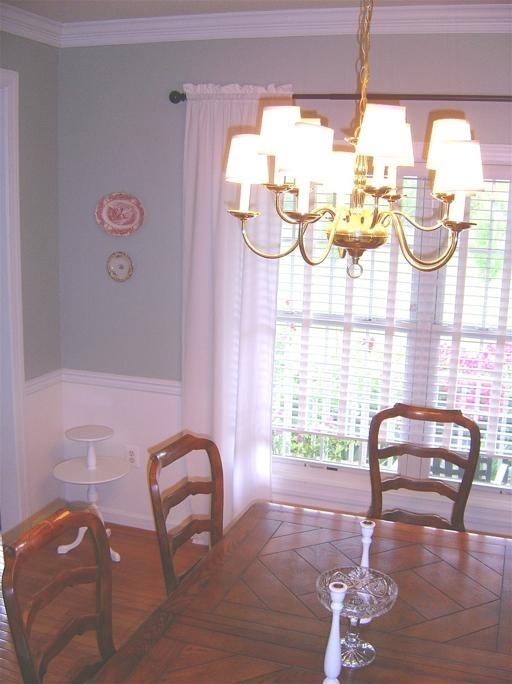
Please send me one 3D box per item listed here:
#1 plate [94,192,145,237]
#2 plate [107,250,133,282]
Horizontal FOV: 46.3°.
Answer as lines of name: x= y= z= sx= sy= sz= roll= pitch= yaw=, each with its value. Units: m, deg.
plate: x=-0.728 y=-0.677 z=3.182 sx=0.245 sy=0.231 sz=0.056 roll=9 pitch=8 yaw=8
plate: x=-0.734 y=-0.402 z=3.240 sx=0.158 sy=0.168 sz=0.017 roll=4 pitch=8 yaw=20
